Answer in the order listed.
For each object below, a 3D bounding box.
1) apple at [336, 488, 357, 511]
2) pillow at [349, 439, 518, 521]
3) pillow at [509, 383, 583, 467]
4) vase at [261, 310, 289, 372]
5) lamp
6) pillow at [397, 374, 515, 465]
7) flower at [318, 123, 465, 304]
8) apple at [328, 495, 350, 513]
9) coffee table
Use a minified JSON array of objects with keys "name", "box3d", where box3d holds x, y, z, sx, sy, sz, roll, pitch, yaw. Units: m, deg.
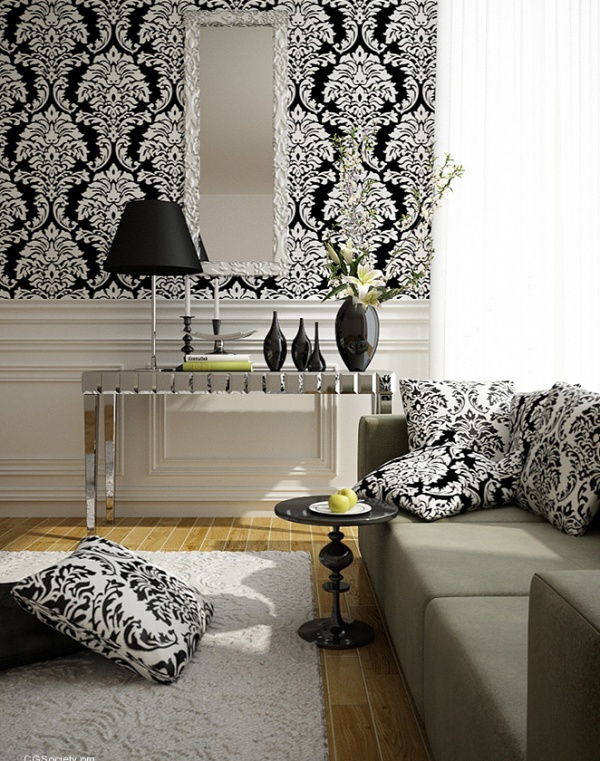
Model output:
[{"name":"apple","box3d":[0.126,0.317,1.707,0.048,0.047,0.047,0,-10,-12]},{"name":"pillow","box3d":[0.410,0.247,1.951,0.281,0.088,0.259,-17,15,-19]},{"name":"pillow","box3d":[0.709,0.130,1.998,0.086,0.252,0.252,12,0,1]},{"name":"vase","box3d":[-0.119,-0.177,2.988,0.098,0.269,0.171,0,0,-4]},{"name":"lamp","box3d":[-0.678,-0.459,2.984,0.425,0.774,0.479,0,0,-13]},{"name":"pillow","box3d":[0.542,0.117,2.176,0.460,0.400,0.234,0,-6,5]},{"name":"flower","box3d":[0.451,-0.789,3.012,0.681,0.918,0.659,0,0,2]},{"name":"apple","box3d":[0.102,0.318,1.653,0.047,0.046,0.046,0,-11,-1]},{"name":"coffee table","box3d":[0.099,0.513,1.793,0.379,0.381,0.355,0,1,1]}]
